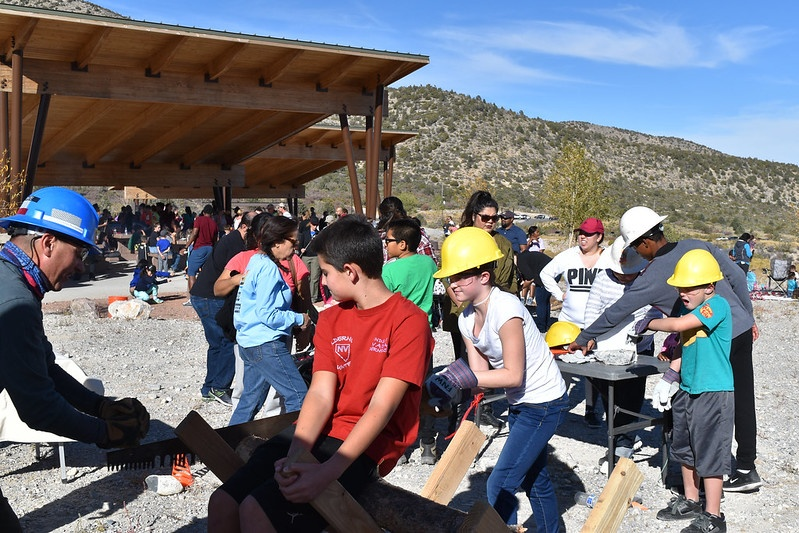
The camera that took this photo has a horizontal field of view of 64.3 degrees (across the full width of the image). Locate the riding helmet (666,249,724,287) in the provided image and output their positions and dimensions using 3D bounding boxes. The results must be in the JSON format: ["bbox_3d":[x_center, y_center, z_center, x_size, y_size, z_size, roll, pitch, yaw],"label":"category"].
[{"bbox_3d":[2.663,-0.009,5.697,0.448,0.280,0.361,-9,19,-5],"label":"riding helmet"}]

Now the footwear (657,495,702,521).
[{"bbox_3d":[2.584,2.231,5.890,0.395,0.182,0.195,-4,-5,1],"label":"footwear"}]

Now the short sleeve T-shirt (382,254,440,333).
[{"bbox_3d":[0.134,0.199,7.038,0.675,0.677,0.379,-18,23,-20],"label":"short sleeve T-shirt"}]

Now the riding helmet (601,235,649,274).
[{"bbox_3d":[2.477,-0.132,6.835,0.388,0.274,0.498,19,35,42],"label":"riding helmet"}]

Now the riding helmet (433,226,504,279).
[{"bbox_3d":[0.513,-0.107,4.716,0.422,0.259,0.352,-16,5,-24],"label":"riding helmet"}]

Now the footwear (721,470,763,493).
[{"bbox_3d":[3.459,2.178,6.385,0.469,0.222,0.182,-2,-7,-10],"label":"footwear"}]

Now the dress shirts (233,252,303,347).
[{"bbox_3d":[-1.351,0.309,6.641,0.748,1.025,0.999,0,4,-25],"label":"dress shirts"}]

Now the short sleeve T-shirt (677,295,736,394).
[{"bbox_3d":[2.833,0.695,5.859,0.463,0.906,0.623,3,-8,7],"label":"short sleeve T-shirt"}]

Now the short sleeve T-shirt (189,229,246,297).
[{"bbox_3d":[-2.547,-0.070,8.605,0.382,0.692,0.611,12,-4,41],"label":"short sleeve T-shirt"}]
